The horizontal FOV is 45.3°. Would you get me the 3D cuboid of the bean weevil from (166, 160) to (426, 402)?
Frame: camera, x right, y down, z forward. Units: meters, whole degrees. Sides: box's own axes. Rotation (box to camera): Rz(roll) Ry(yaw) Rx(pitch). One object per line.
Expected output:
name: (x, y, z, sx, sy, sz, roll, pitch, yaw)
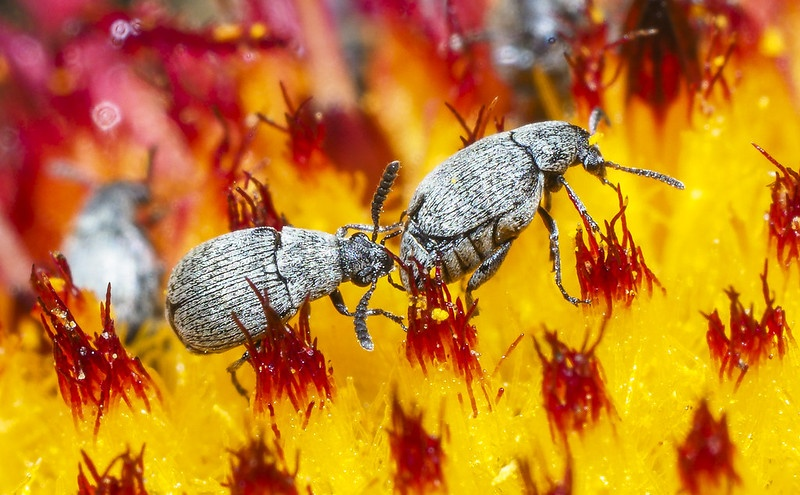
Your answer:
bean weevil: (-0.256, 0.110, 2.544, 0.728, 0.208, 0.547, -22, 63, -13)
